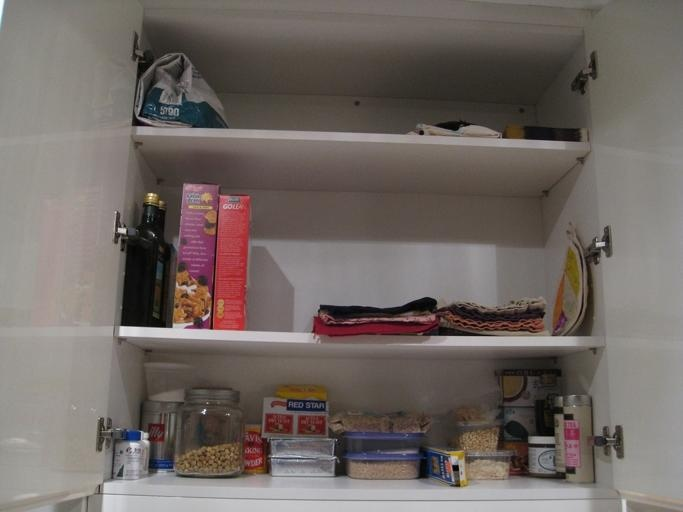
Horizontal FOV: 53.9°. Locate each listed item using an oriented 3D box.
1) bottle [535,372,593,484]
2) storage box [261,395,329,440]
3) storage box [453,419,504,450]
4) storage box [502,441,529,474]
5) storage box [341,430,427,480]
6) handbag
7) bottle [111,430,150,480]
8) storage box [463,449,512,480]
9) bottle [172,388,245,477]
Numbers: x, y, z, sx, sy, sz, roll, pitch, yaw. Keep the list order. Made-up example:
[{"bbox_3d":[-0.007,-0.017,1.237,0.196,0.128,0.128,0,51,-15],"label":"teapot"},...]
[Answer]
[{"bbox_3d":[0.651,0.505,1.884,0.090,0.240,0.074,2,-10,-7],"label":"bottle"},{"bbox_3d":[-0.136,0.469,1.958,0.190,0.129,0.106,2,-12,-3],"label":"storage box"},{"bbox_3d":[0.397,0.512,1.943,0.098,0.065,0.083,0,-9,6],"label":"storage box"},{"bbox_3d":[0.514,0.595,2.008,0.079,0.119,0.084,-2,-5,13],"label":"storage box"},{"bbox_3d":[0.112,0.551,1.902,0.169,0.087,0.140,0,-11,2],"label":"storage box"},{"bbox_3d":[-0.468,-0.461,1.925,0.199,0.231,0.091,-2,-34,-23],"label":"handbag"},{"bbox_3d":[-0.546,0.524,1.784,0.072,0.126,0.097,-9,-14,41],"label":"bottle"},{"bbox_3d":[0.416,0.590,1.905,0.106,0.055,0.074,-1,-9,6],"label":"storage box"},{"bbox_3d":[-0.361,0.495,1.856,0.197,0.259,0.225,3,-17,-6],"label":"bottle"}]
